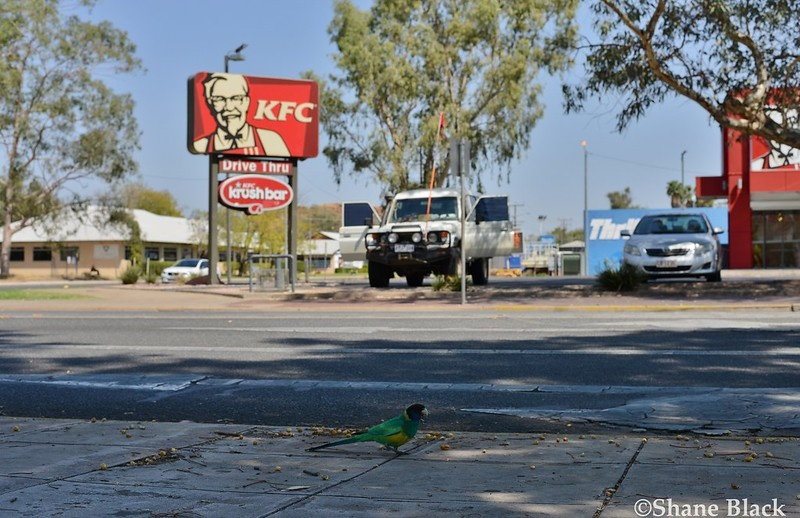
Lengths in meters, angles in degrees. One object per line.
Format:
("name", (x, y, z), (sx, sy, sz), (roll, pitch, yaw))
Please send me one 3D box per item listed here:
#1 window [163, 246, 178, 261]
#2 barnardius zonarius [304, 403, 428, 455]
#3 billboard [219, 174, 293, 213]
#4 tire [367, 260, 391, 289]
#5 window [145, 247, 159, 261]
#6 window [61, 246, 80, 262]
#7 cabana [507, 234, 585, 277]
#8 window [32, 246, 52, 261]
("window", (-18.340, -0.385, 86.432), (0.098, 0.845, 1.227), (-6, -1, 19))
("barnardius zonarius", (-0.434, 3.027, 19.517), (1.750, 0.816, 0.917), (-1, 0, -4))
("billboard", (-5.600, -2.543, 42.080), (3.446, 1.743, 0.496), (0, 9, -5))
("tire", (-0.737, 0.518, 36.791), (0.347, 1.012, 1.058), (-1, 0, 25))
("window", (-19.181, -0.398, 83.385), (0.933, 1.505, 1.661), (-1, 1, 4))
("window", (-24.659, -0.355, 81.327), (1.210, 0.804, 0.094), (-1, 3, 6))
("cabana", (10.338, -0.177, 78.213), (3.122, 3.286, 8.204), (-5, -1, -7))
("window", (-27.041, -0.405, 82.313), (1.235, 0.819, 0.168), (0, -1, 12))
